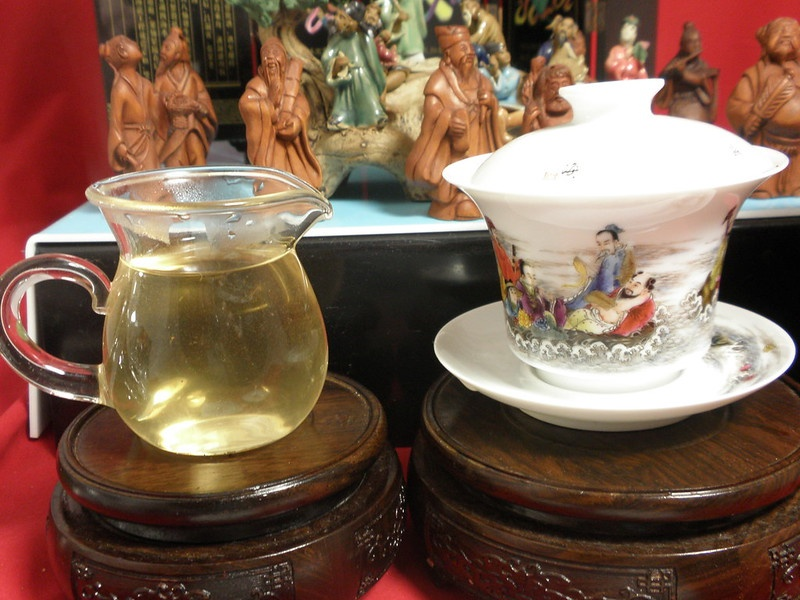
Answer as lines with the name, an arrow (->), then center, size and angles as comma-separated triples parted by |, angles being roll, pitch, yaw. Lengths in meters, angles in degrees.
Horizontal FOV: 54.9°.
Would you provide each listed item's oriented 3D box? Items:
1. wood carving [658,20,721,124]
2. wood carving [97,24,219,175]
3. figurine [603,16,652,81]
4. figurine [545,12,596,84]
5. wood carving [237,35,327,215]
wood carving -> 0.532, -0.399, 1.428 | 0.113, 0.219, 0.077 | 4, 26, 23
wood carving -> -0.419, -0.334, 1.299 | 0.190, 0.217, 0.095 | -20, 31, -29
figurine -> 0.447, -0.481, 1.521 | 0.071, 0.159, 0.048 | 6, 14, 24
figurine -> 0.329, -0.520, 1.541 | 0.119, 0.139, 0.091 | -1, 57, 11
wood carving -> -0.210, -0.288, 1.323 | 0.136, 0.301, 0.095 | -10, 38, -13
